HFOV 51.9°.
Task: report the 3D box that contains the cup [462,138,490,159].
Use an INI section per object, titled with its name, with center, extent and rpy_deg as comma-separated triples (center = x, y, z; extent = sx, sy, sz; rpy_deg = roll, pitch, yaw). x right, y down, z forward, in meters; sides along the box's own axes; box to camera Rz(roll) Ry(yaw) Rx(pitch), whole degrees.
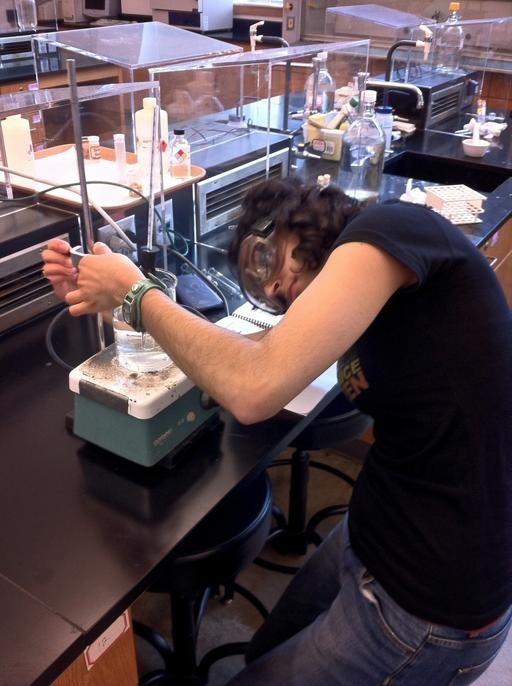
[cup]
center = 1.113, -0.968, 2.678
extent = 0.124, 0.069, 0.121
rpy_deg = -1, 31, 0
